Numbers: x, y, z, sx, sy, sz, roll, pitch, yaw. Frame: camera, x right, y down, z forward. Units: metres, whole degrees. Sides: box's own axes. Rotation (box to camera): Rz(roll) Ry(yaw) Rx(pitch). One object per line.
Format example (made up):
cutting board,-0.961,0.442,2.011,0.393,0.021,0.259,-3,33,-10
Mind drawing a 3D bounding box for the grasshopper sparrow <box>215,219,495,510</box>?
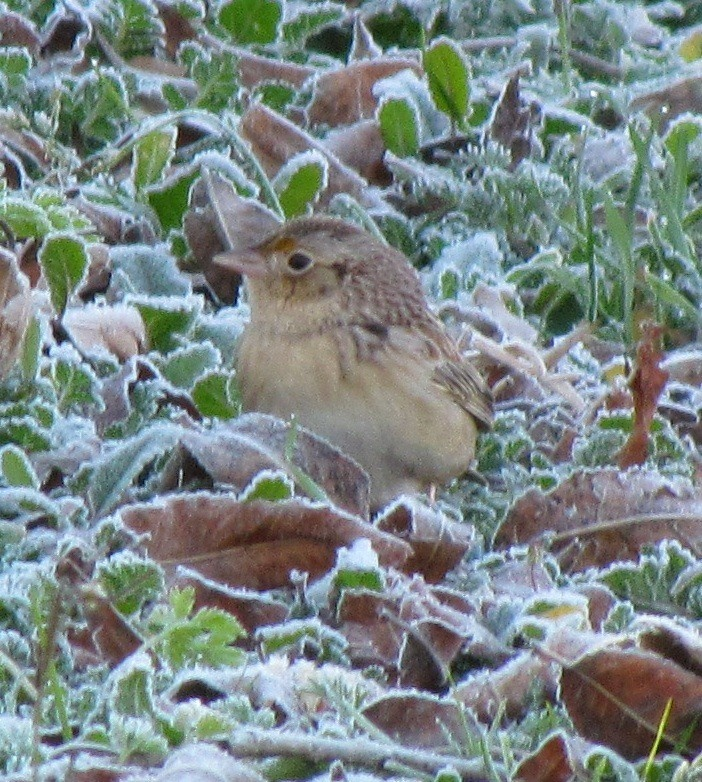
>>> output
grasshopper sparrow,0.017,0.009,1.730,0.253,0.206,0.333,0,72,-19
